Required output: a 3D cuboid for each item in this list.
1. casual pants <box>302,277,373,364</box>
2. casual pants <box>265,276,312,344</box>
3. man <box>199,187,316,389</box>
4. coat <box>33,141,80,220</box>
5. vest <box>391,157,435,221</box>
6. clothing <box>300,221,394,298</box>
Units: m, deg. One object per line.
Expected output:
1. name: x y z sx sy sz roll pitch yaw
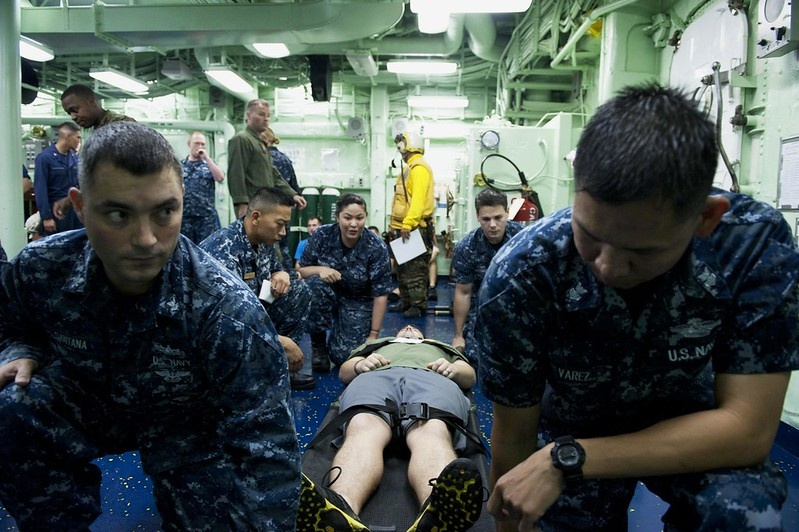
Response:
1. casual pants: -0.477 0.398 4.937 0.447 0.694 0.296 6 -10 7
2. casual pants: -0.764 0.309 4.454 0.270 0.448 0.166 8 23 -1
3. man: -0.940 0.171 4.121 0.773 1.261 0.658 3 12 -6
4. coat: -3.060 -0.715 5.784 0.258 0.738 0.442 18 21 19
5. vest: 0.116 -0.689 6.078 0.401 0.709 0.609 0 11 0
6. clothing: -0.397 -0.045 5.175 0.826 0.583 0.412 16 30 21
